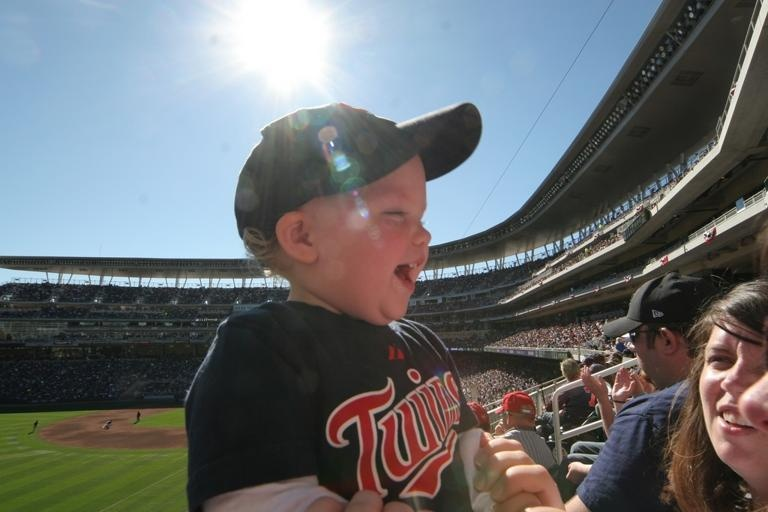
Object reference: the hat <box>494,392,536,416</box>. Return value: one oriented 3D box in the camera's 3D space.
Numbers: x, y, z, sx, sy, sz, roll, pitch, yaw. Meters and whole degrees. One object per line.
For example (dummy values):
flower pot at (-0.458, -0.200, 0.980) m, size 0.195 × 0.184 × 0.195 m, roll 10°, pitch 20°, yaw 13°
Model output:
hat at (2.720, 3.018, 9.969) m, size 0.555 × 0.421 × 0.758 m, roll 13°, pitch -16°, yaw -36°
